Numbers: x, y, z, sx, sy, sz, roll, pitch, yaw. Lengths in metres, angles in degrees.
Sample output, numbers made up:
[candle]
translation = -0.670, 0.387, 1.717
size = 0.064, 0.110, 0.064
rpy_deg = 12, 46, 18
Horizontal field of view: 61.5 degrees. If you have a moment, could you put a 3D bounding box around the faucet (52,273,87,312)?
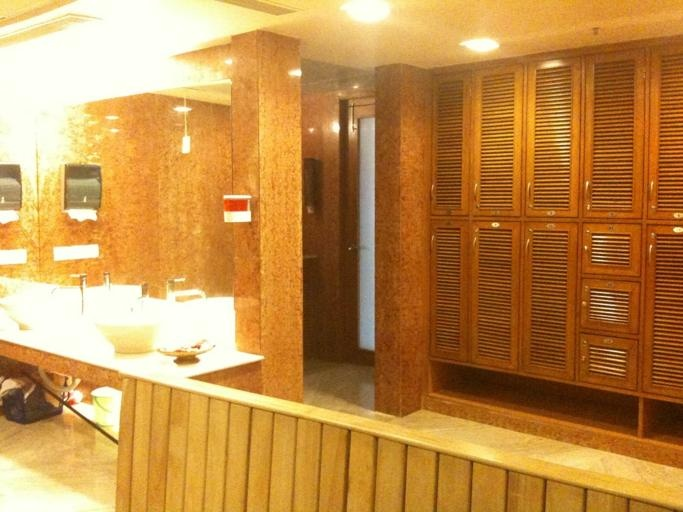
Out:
[faucet]
translation = -2.014, 0.267, 4.377
size = 0.307, 0.280, 0.148
rpy_deg = 5, 6, 18
